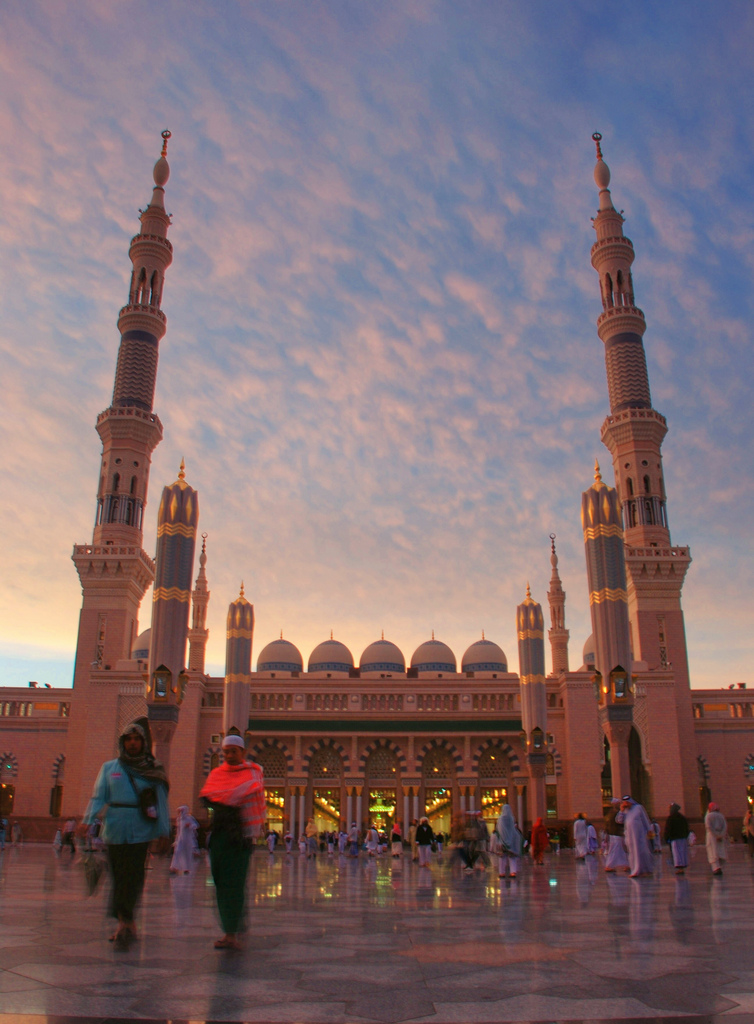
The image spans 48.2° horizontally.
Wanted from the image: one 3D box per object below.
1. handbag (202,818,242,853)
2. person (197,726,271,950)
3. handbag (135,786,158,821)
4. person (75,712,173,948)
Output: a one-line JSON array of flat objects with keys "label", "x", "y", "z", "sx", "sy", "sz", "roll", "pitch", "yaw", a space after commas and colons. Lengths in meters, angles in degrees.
[{"label": "handbag", "x": -0.944, "y": 1.918, "z": 5.093, "sx": 0.257, "sy": 0.264, "sz": 0.170, "roll": -16, "pitch": -23, "yaw": 37}, {"label": "person", "x": -0.890, "y": 1.990, "z": 5.160, "sx": 0.401, "sy": 1.215, "sz": 0.311, "roll": -1, "pitch": -28, "yaw": -4}, {"label": "handbag", "x": -1.376, "y": 1.751, "z": 5.048, "sx": 0.122, "sy": 0.194, "sz": 0.070, "roll": 6, "pitch": -20, "yaw": -24}, {"label": "person", "x": -1.511, "y": 1.906, "z": 5.088, "sx": 0.446, "sy": 1.230, "sz": 0.418, "roll": -11, "pitch": -20, "yaw": 26}]
